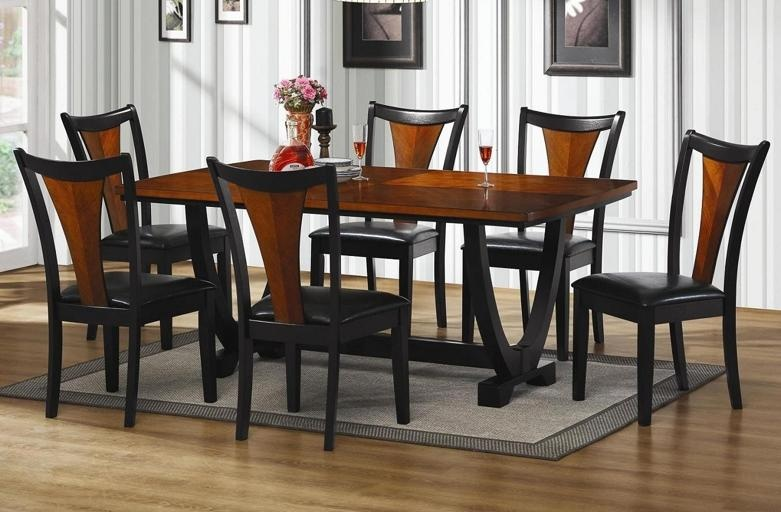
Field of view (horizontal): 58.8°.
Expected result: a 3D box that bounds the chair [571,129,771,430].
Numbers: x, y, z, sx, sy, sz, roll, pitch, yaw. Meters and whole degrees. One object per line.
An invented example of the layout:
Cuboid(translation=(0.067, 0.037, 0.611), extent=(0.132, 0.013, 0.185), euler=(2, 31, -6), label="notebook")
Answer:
Cuboid(translation=(1.295, 0.076, 3.222), extent=(0.746, 1.270, 0.530), euler=(-7, 15, -26), label="chair")

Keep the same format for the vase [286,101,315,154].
Cuboid(translation=(-0.532, -0.753, 4.070), extent=(0.180, 0.197, 0.173), euler=(0, 13, -24), label="vase")

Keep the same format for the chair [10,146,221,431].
Cuboid(translation=(-1.285, 0.119, 3.214), extent=(0.846, 1.217, 0.483), euler=(3, 13, 14), label="chair")

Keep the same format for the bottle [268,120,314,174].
Cuboid(translation=(-0.498, -0.518, 3.481), extent=(0.253, 0.325, 0.174), euler=(-6, 27, -16), label="bottle")

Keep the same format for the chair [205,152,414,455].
Cuboid(translation=(-0.309, 0.184, 2.948), extent=(0.834, 1.184, 0.487), euler=(-4, 13, -14), label="chair")

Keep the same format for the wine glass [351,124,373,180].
Cuboid(translation=(-0.161, -0.531, 3.541), extent=(0.111, 0.280, 0.106), euler=(-1, 8, 7), label="wine glass")

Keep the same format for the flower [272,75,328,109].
Cuboid(translation=(-0.519, -0.951, 4.051), extent=(0.308, 0.198, 0.232), euler=(10, 16, 38), label="flower")
